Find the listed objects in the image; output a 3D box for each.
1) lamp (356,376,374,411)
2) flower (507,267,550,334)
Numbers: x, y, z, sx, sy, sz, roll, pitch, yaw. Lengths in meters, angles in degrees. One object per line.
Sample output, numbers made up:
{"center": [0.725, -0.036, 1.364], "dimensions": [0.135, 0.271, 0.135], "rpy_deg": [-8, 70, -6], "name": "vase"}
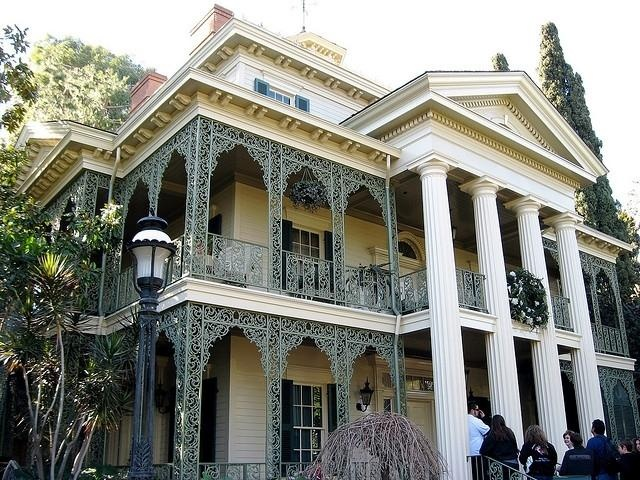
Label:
{"center": [1.262, 4.237, 15.086], "dimensions": [0.385, 0.791, 0.593], "rpy_deg": [-16, -32, 32], "name": "lamp"}
{"center": [5.125, 1.579, 14.462], "dimensions": [1.160, 1.373, 0.490], "rpy_deg": [-20, -4, -26], "name": "flower"}
